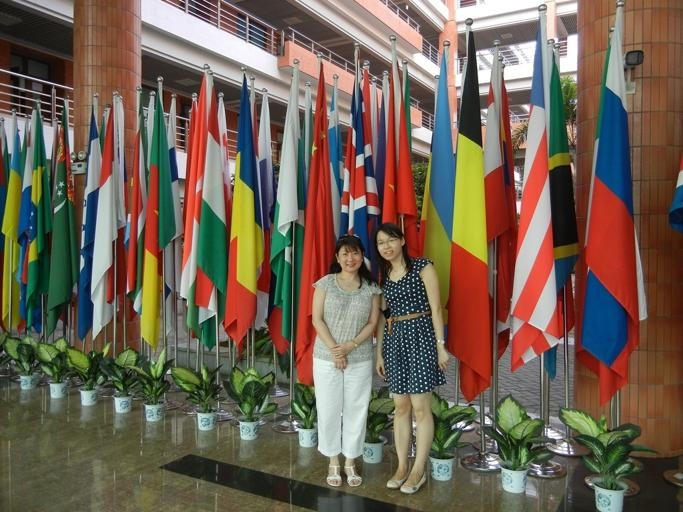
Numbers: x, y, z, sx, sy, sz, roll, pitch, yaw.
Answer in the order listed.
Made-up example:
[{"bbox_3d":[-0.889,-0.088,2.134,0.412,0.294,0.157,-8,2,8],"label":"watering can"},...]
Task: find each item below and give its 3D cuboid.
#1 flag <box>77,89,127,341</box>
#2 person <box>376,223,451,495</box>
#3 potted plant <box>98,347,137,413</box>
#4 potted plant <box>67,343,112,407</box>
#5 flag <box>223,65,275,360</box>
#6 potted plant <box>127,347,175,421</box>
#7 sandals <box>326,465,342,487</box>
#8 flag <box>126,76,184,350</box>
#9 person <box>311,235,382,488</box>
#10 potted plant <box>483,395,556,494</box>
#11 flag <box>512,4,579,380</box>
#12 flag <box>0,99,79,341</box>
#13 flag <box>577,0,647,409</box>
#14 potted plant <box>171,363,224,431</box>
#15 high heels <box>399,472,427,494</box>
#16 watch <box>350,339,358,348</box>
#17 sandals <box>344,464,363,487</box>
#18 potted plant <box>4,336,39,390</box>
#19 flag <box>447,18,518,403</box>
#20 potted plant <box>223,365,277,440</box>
[{"bbox_3d":[-3.325,-0.539,9.319,0.671,3.308,1.011,-2,9,-11],"label":"flag"},{"bbox_3d":[0.667,0.971,6.717,0.739,2.562,0.629,3,10,22],"label":"person"},{"bbox_3d":[-2.788,1.595,8.970,0.571,0.820,0.757,-2,-1,3],"label":"potted plant"},{"bbox_3d":[-3.353,1.528,8.933,0.628,0.758,0.708,0,1,13],"label":"potted plant"},{"bbox_3d":[-1.192,-0.487,8.150,0.495,3.301,0.851,-1,9,-3],"label":"flag"},{"bbox_3d":[-2.440,1.576,8.706,0.516,0.820,1.016,-4,11,-18],"label":"potted plant"},{"bbox_3d":[-0.070,2.187,6.805,0.114,0.120,0.308,0,-8,2],"label":"sandals"},{"bbox_3d":[-2.431,-0.542,8.849,0.576,3.477,0.786,-3,9,-15],"label":"flag"},{"bbox_3d":[0.056,1.018,6.855,0.675,2.422,0.633,0,9,0],"label":"person"},{"bbox_3d":[1.747,1.851,6.958,0.631,1.006,0.864,-2,-3,42],"label":"potted plant"},{"bbox_3d":[2.130,-0.638,7.023,0.621,3.783,0.935,5,10,28],"label":"flag"},{"bbox_3d":[-4.434,-0.516,9.926,1.606,3.346,0.857,8,12,41],"label":"flag"},{"bbox_3d":[2.772,-0.476,6.815,0.602,3.881,0.758,3,10,21],"label":"flag"},{"bbox_3d":[-1.735,1.668,8.431,0.603,0.750,0.847,2,11,14],"label":"potted plant"},{"bbox_3d":[0.718,2.236,6.700,0.110,0.128,0.326,-8,-13,29],"label":"high heels"},{"bbox_3d":[0.133,0.858,6.740,0.057,0.063,0.021,-6,-10,27],"label":"watch"},{"bbox_3d":[0.125,2.169,6.795,0.182,0.167,0.195,1,11,5],"label":"sandals"},{"bbox_3d":[-4.575,1.479,9.755,0.607,0.686,0.619,0,-1,-32],"label":"potted plant"},{"bbox_3d":[1.501,-0.492,7.155,0.665,3.935,0.917,2,9,14],"label":"flag"},{"bbox_3d":[-0.977,1.702,8.092,0.621,0.995,0.737,0,-3,19],"label":"potted plant"}]
